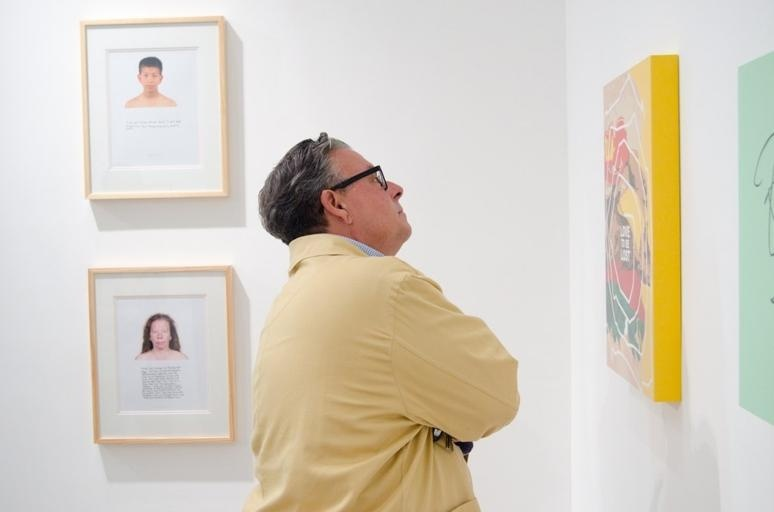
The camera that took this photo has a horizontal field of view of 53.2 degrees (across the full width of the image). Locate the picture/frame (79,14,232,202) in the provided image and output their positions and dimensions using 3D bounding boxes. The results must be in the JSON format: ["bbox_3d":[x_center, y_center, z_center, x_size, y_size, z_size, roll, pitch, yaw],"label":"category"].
[{"bbox_3d":[-0.965,-0.645,3.267,0.692,0.929,0.069,-1,4,3],"label":"picture/frame"}]

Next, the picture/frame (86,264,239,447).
[{"bbox_3d":[-0.945,0.403,3.300,0.683,0.917,0.070,0,2,3],"label":"picture/frame"}]
